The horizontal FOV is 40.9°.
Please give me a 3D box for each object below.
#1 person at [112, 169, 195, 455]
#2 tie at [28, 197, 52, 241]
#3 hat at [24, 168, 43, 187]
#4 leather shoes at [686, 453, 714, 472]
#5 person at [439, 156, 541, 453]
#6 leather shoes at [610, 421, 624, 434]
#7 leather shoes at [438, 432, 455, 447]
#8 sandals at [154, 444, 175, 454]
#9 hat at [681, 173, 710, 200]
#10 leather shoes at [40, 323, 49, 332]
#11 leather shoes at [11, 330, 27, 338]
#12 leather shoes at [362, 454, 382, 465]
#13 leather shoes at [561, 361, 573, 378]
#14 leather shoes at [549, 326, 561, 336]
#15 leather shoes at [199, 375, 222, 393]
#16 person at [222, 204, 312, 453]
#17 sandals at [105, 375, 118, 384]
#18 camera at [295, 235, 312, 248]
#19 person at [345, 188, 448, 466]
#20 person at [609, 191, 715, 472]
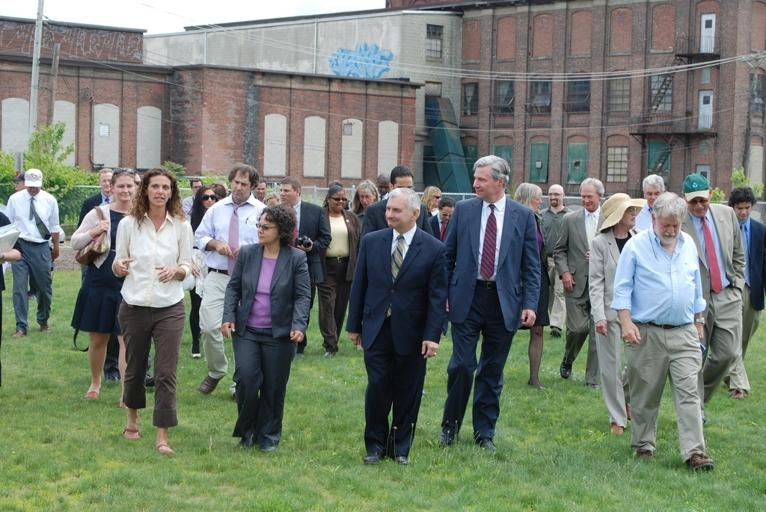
[{"bbox_3d":[-3.195,0.699,14.179,1.000,3.690,1.125,1,12,-3],"label":"person"},{"bbox_3d":[-6.593,-0.655,19.680,0.245,0.955,0.107,-23,-24,-19],"label":"tie"},{"bbox_3d":[-6.713,-1.474,19.699,0.339,0.258,0.516,3,9,-20],"label":"hat"},{"bbox_3d":[4.222,2.780,13.838,0.175,0.176,0.384,-2,7,-24],"label":"leather shoes"},{"bbox_3d":[1.464,0.642,14.351,1.341,3.934,1.024,0,12,-7],"label":"person"},{"bbox_3d":[3.411,2.547,15.138,0.119,0.085,0.266,10,9,-17],"label":"leather shoes"},{"bbox_3d":[0.878,2.571,14.405,0.106,0.218,0.313,-4,-11,38],"label":"leather shoes"},{"bbox_3d":[-2.967,2.597,13.954,0.226,0.132,0.203,-2,13,-14],"label":"sandals"},{"bbox_3d":[4.636,-1.036,15.293,0.306,0.243,0.450,-2,15,17],"label":"hat"},{"bbox_3d":[-6.437,1.370,19.516,0.119,0.162,0.065,-2,-4,-8],"label":"leather shoes"},{"bbox_3d":[-6.725,1.444,18.977,0.091,0.094,0.245,9,-6,0],"label":"leather shoes"},{"bbox_3d":[-0.162,2.733,13.855,0.107,0.121,0.276,6,-5,36],"label":"leather shoes"},{"bbox_3d":[3.110,1.923,17.521,0.126,0.355,0.150,1,16,0],"label":"leather shoes"},{"bbox_3d":[3.406,1.515,20.456,0.100,0.121,0.285,12,-34,31],"label":"leather shoes"},{"bbox_3d":[-2.688,1.932,16.053,0.160,0.189,0.448,21,49,13],"label":"leather shoes"},{"bbox_3d":[-1.614,0.978,14.088,1.163,3.255,0.835,-1,13,-9],"label":"person"},{"bbox_3d":[-4.308,1.959,16.334,0.127,0.057,0.173,2,7,-9],"label":"sandals"},{"bbox_3d":[-1.305,-0.212,16.855,0.200,0.134,0.212,27,-11,-21],"label":"camera"},{"bbox_3d":[0.164,0.938,13.837,1.324,3.611,0.841,2,12,3],"label":"person"},{"bbox_3d":[3.810,0.984,14.011,1.419,3.599,1.000,5,13,19],"label":"person"}]
